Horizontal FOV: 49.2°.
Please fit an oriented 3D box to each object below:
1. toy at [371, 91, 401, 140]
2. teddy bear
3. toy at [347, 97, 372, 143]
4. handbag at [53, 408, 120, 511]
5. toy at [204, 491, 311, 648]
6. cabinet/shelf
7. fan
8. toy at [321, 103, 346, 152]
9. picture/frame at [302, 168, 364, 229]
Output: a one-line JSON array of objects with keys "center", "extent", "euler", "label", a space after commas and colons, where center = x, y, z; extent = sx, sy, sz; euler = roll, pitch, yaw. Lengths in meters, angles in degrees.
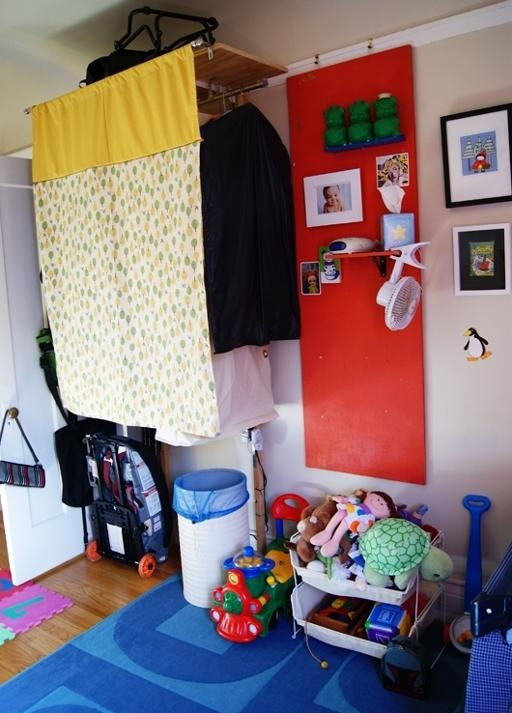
[{"center": [0.463, -0.857, 2.007], "extent": [0.100, 0.162, 0.086], "euler": [-2, 5, 23], "label": "toy"}, {"center": [0.385, 0.635, 1.991], "extent": [0.342, 0.145, 0.433], "euler": [-33, 29, -34], "label": "teddy bear"}, {"center": [0.382, -0.867, 2.093], "extent": [0.103, 0.151, 0.112], "euler": [-2, 5, 25], "label": "toy"}, {"center": [-0.951, 0.527, 2.977], "extent": [0.381, 0.441, 0.129], "euler": [-4, 5, -23], "label": "handbag"}, {"center": [-0.001, 0.883, 2.457], "extent": [0.257, 0.507, 0.641], "euler": [1, 9, 29], "label": "toy"}, {"center": [0.437, 0.874, 2.147], "extent": [0.554, 0.539, 0.422], "euler": [4, 9, 31], "label": "cabinet/shelf"}, {"center": [0.543, -0.270, 2.054], "extent": [0.169, 0.301, 0.217], "euler": [14, 33, 26], "label": "fan"}, {"center": [0.307, -0.877, 2.165], "extent": [0.087, 0.160, 0.152], "euler": [-3, 5, 8], "label": "toy"}, {"center": [0.319, -0.641, 2.248], "extent": [0.248, 0.223, 0.009], "euler": [4, 13, 37], "label": "picture/frame"}]
